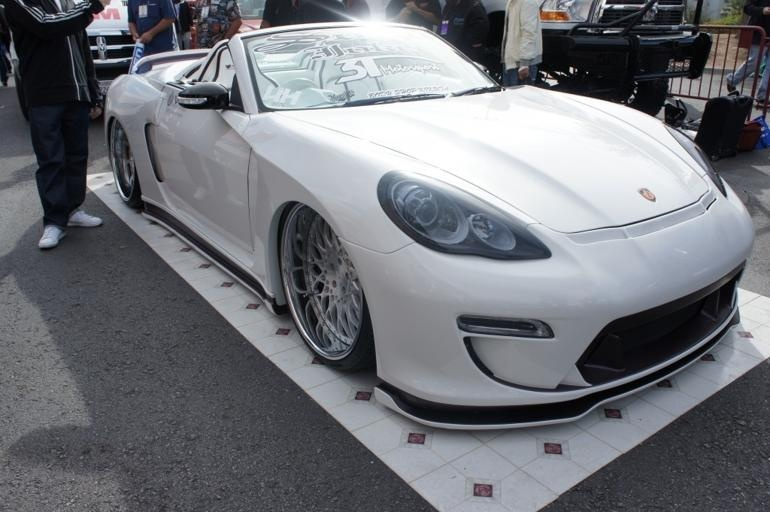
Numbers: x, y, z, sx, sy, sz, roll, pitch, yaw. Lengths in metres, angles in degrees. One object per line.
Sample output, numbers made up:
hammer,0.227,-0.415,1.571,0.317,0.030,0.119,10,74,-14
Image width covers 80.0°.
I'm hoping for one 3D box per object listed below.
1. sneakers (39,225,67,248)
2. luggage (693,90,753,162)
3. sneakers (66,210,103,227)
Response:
sneakers,-3.174,-0.190,4.389,0.127,0.136,0.342,4,17,-11
luggage,4.418,-1.717,6.082,0.487,0.784,0.471,-11,25,-29
sneakers,-3.090,-0.400,4.756,0.367,0.160,0.155,-2,17,-12
